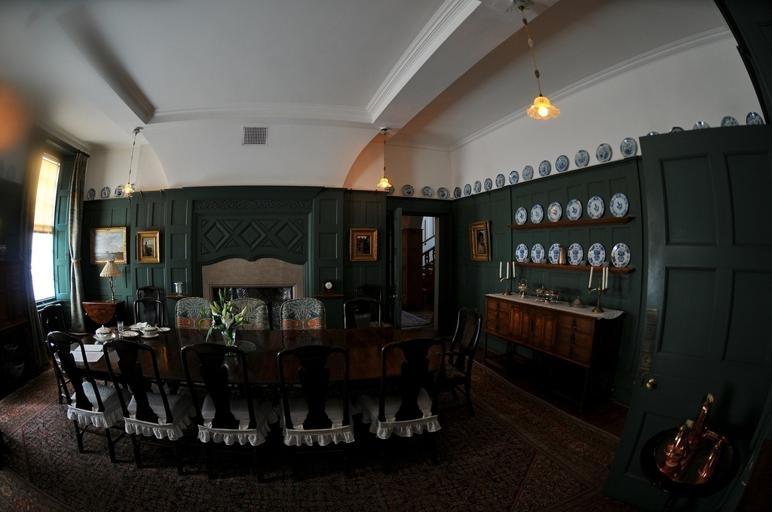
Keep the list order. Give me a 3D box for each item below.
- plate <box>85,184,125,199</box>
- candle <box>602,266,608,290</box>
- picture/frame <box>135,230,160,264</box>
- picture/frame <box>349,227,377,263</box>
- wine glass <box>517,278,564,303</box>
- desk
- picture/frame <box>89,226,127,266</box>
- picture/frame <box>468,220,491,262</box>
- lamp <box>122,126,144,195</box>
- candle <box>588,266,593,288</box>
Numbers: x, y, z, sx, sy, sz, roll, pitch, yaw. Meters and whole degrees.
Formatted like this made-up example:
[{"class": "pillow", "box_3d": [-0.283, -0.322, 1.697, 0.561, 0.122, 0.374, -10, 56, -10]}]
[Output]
[{"class": "plate", "box_3d": [-4.606, -1.031, 7.591, 0.672, 0.183, 0.091, -2, 3, 14]}, {"class": "candle", "box_3d": [2.620, 0.267, 5.551, 0.080, 0.316, 0.392, -1, 3, 25]}, {"class": "picture/frame", "box_3d": [-3.765, -0.143, 7.331, 0.527, 0.721, 0.073, 0, -1, 5]}, {"class": "picture/frame", "box_3d": [-0.385, -0.164, 7.421, 0.548, 0.651, 0.045, 0, 1, -12]}, {"class": "wine glass", "box_3d": [2.075, 0.484, 6.265, 0.199, 0.240, 0.613, 1, -4, -25]}, {"class": "desk", "box_3d": [2.045, 0.899, 6.097, 0.529, 0.664, 1.550, -8, 13, -43]}, {"class": "picture/frame", "box_3d": [-4.494, -0.163, 7.519, 0.630, 0.613, 0.048, 1, 5, 16]}, {"class": "picture/frame", "box_3d": [1.504, -0.247, 7.398, 0.069, 0.694, 0.653, 2, -1, -18]}, {"class": "lamp", "box_3d": [-3.861, -1.398, 7.044, 0.269, 0.748, 1.308, -4, 4, -32]}, {"class": "candle", "box_3d": [2.511, 0.264, 5.707, 0.074, 0.281, 0.333, -1, 3, 23]}]
